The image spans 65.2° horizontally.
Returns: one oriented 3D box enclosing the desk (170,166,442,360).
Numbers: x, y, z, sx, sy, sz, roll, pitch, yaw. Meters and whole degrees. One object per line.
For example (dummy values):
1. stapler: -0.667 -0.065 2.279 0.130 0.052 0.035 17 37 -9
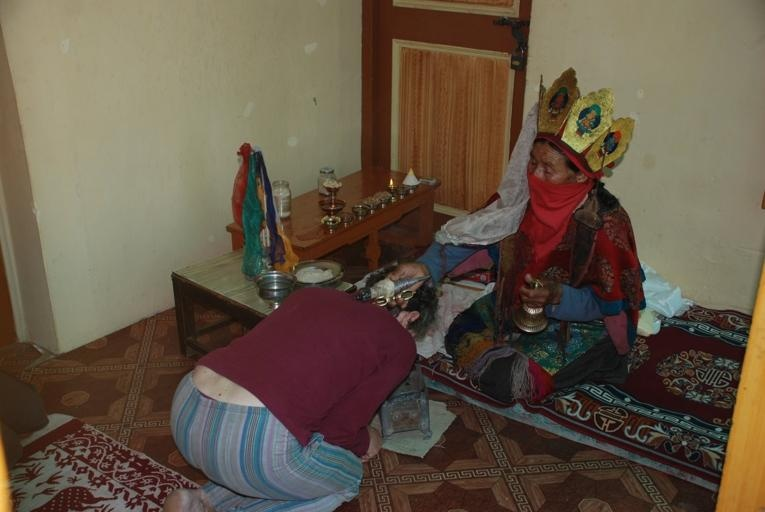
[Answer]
1. desk: -0.591 0.038 4.043 0.511 0.488 1.456 25 44 32
